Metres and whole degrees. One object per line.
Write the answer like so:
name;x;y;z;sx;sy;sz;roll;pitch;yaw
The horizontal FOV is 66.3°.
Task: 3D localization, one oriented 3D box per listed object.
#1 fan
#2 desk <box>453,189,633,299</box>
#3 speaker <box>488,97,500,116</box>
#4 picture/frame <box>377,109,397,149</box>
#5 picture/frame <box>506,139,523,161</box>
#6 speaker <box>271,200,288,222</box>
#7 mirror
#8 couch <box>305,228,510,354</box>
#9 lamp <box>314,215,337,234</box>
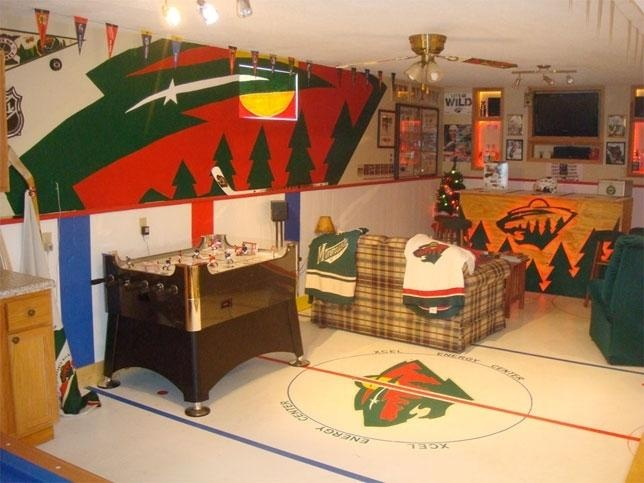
fan;1.086;-1.902;5.171;1.808;0.395;1.667;-9;19;-21
desk;3.372;0.052;7.308;1.705;1.031;0.545;5;10;32
speaker;3.300;-2.557;9.478;0.233;0.359;0.096;3;12;16
picture/frame;1.069;-1.917;8.366;0.061;0.737;0.673;3;7;31
picture/frame;3.669;-1.736;9.376;0.402;0.484;0.021;4;6;33
speaker;-0.552;-0.403;6.386;0.248;0.261;0.246;0;0;-3
mirror;1.713;-1.850;9.131;1.427;1.962;0.166;-10;13;-41
couch;0.937;0.594;6.349;2.045;1.321;1.193;3;-1;21
lamp;0.050;-0.250;7.031;0.271;0.254;0.268;-1;10;-3
